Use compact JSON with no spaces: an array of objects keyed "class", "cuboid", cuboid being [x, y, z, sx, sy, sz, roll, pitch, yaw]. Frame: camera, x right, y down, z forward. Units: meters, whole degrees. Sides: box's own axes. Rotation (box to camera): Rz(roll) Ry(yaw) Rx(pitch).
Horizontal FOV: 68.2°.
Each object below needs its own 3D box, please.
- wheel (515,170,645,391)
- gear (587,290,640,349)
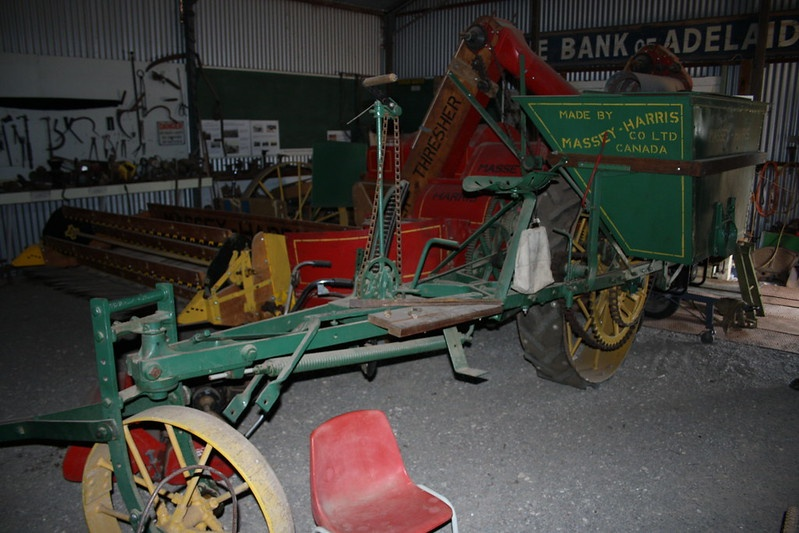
[{"class":"wheel","cuboid":[2.458,0.386,6.699,1.504,1.704,0.421,38,-19,-27]},{"class":"gear","cuboid":[2.348,0.656,6.482,0.610,0.783,0.154,2,5,-36]}]
